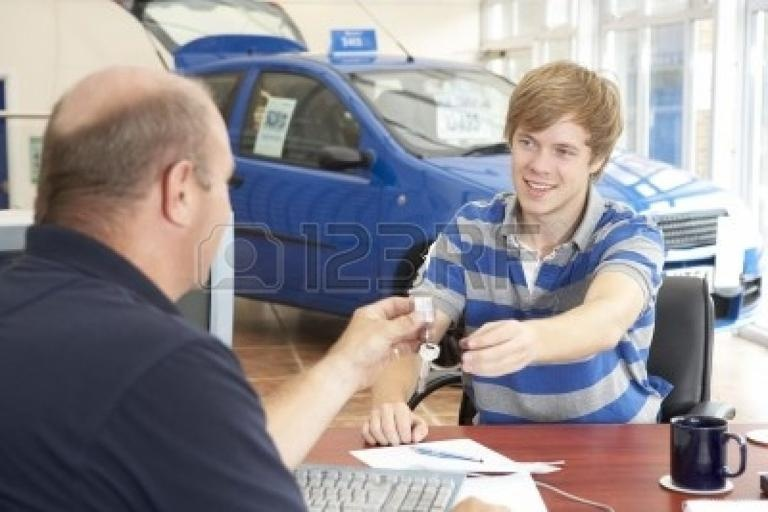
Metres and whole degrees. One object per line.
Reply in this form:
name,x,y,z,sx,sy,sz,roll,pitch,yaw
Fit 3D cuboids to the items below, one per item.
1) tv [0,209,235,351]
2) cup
tv,-1.179,0.118,2.773,1.098,0.511,0.612,0,0,16
cup,0.537,0.334,1.178,0.078,0.091,0.124,11,-12,-36
